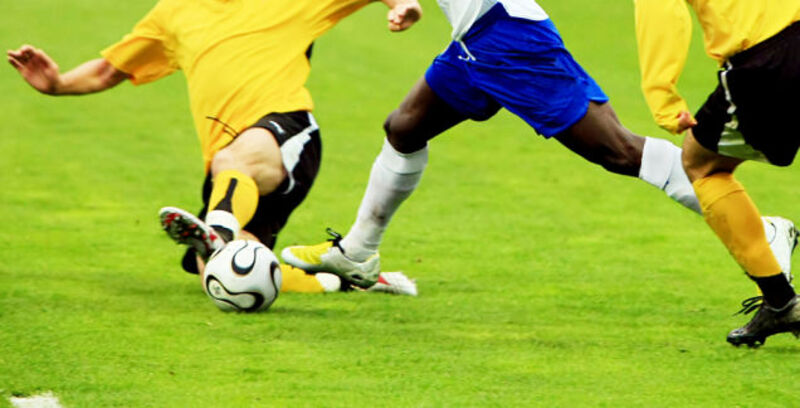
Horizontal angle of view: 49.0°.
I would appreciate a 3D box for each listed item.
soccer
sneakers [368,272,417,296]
[{"bbox_3d":[-1.104,0.541,6.243,0.598,0.482,0.503,3,-16,-11],"label":"soccer"},{"bbox_3d":[-0.036,0.600,6.578,0.288,0.093,0.180,7,10,26],"label":"sneakers"}]
